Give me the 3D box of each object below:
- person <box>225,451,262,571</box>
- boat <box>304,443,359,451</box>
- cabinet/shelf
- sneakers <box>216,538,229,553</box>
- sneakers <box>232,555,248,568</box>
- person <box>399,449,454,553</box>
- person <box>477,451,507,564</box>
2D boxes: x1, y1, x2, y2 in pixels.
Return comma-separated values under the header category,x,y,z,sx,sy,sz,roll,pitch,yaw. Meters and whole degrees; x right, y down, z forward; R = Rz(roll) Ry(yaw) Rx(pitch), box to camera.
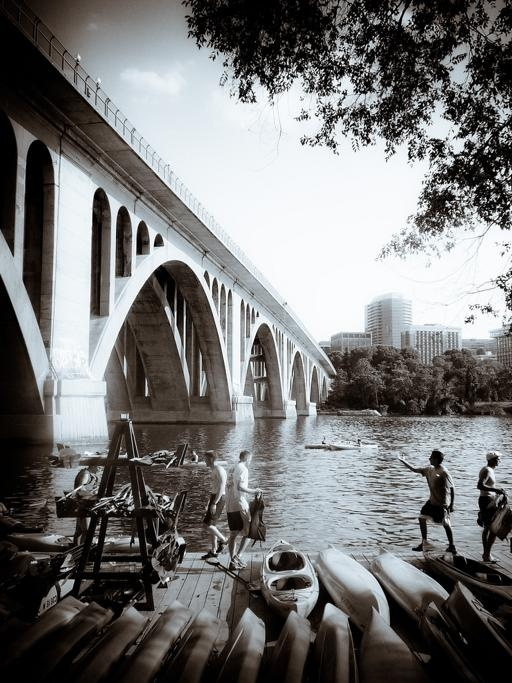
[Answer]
category,x,y,z,sx,sy,sz,roll,pitch,yaw
person,-0.185,2.231,8.003,0.420,1.386,1.138,1,-5,-3
boat,4.065,5.687,31.776,2.875,0.253,2.566,1,-6,3
cabinet/shelf,-1.573,1.812,6.616,0.992,1.927,1.755,2,-5,-11
sneakers,-0.505,3.065,8.841,0.119,0.180,0.407,-1,-19,2
sneakers,-0.225,2.785,7.488,0.225,0.196,0.080,1,-3,-23
person,2.698,2.461,9.022,0.571,1.572,0.763,3,-5,-18
person,3.414,2.385,8.535,0.367,1.516,2.158,-1,-6,21
